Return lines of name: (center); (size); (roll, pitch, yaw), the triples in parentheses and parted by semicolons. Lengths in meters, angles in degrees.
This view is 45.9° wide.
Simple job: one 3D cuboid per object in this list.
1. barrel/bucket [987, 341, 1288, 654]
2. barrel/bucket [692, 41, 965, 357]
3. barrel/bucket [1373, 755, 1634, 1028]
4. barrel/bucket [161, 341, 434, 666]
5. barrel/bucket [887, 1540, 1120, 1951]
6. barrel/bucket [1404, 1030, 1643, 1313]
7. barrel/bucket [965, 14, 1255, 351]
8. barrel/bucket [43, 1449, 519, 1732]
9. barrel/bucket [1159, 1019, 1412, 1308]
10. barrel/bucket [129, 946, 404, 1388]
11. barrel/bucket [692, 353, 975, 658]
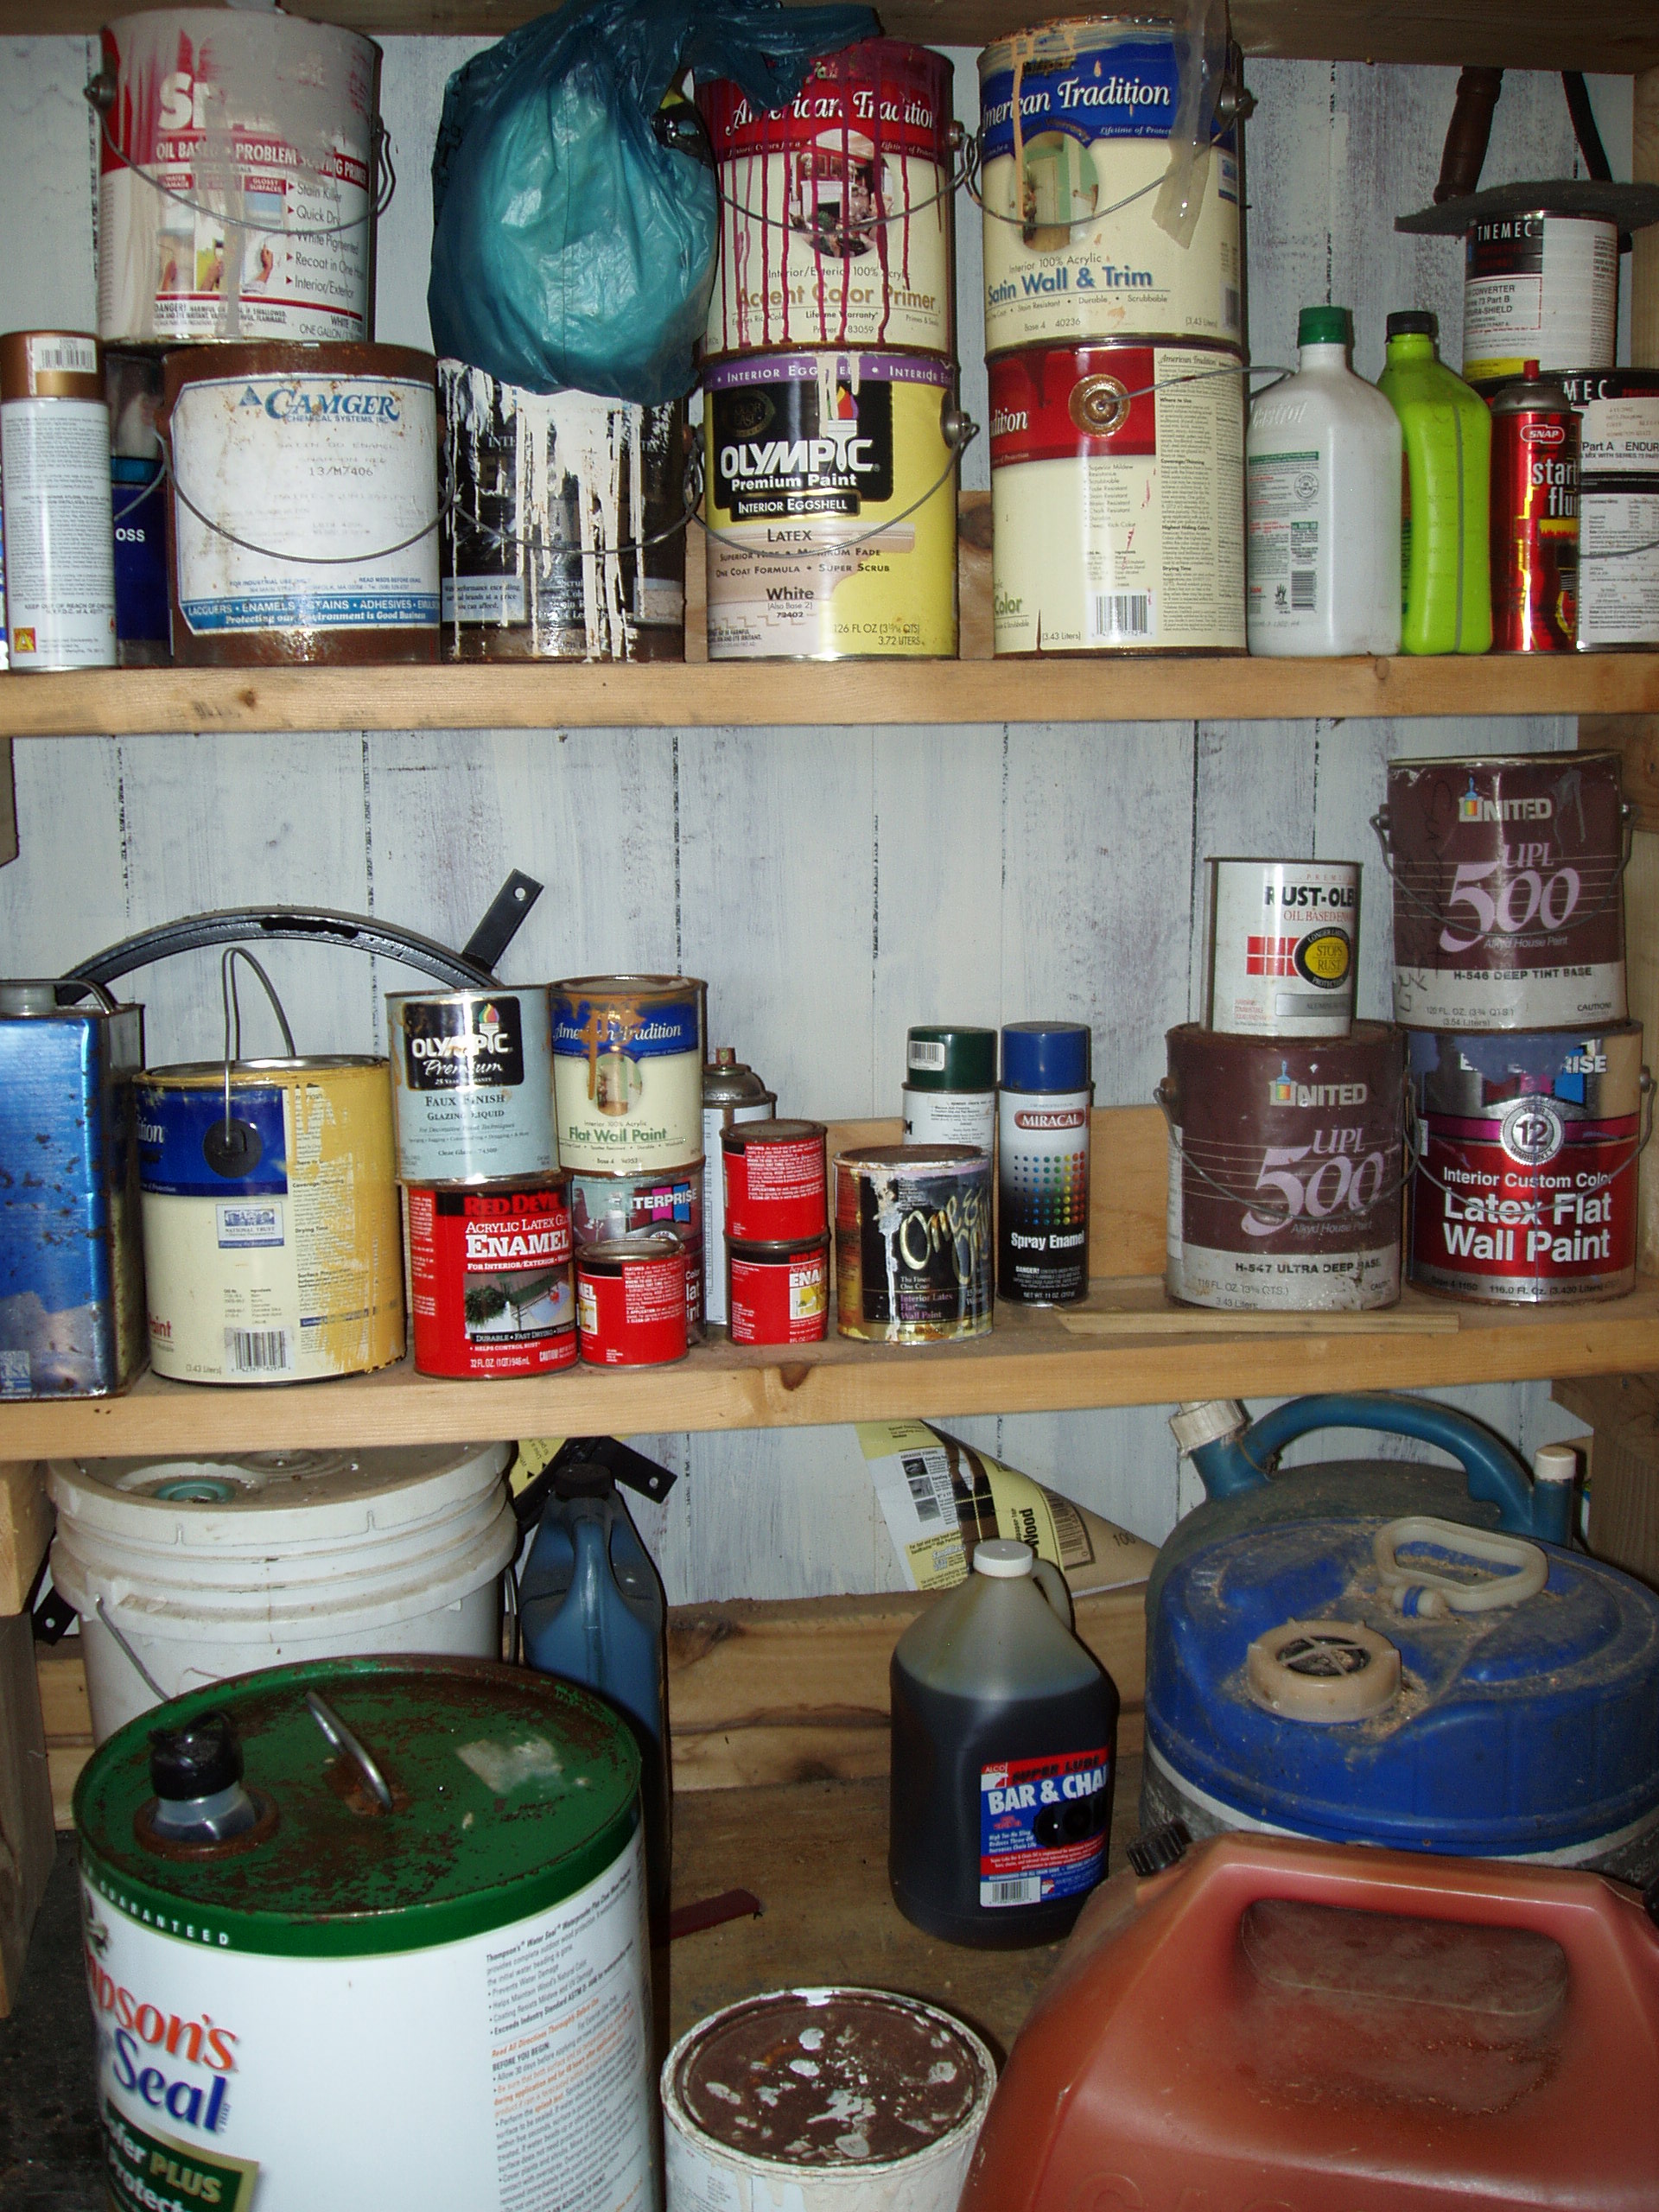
barrel/bucket: (0.181, -0.375, 1.197); (0.181, 0.182, 0.177); (-2, 21, 1)
barrel/bucket: (-0.005, -0.529, 1.164); (0.154, 0.159, 0.150); (-1, 21, 0)
barrel/bucket: (0.419, -0.149, 1.335); (0.192, 0.175, 0.172); (-4, 9, -22)
barrel/bucket: (-0.293, -0.343, 1.140); (0.168, 0.172, 0.166); (1, 13, 0)
barrel/bucket: (0.108, 0.405, 1.275); (0.154, 0.239, 0.136); (-4, 10, -20)
barrel/bucket: (0.456, 0.034, 1.361); (0.179, 0.177, 0.187); (-1, 6, 0)
barrel/bucket: (0.153, -0.525, 1.180); (0.180, 0.167, 0.177); (0, 10, 0)
barrel/bucket: (-0.329, 0.244, 1.197); (0.213, 0.184, 0.204); (1, 11, 0)
barrel/bucket: (0.299, 0.032, 1.306); (0.165, 0.172, 0.163); (-1, 10, 0)
barrel/bucket: (-0.343, 0.034, 1.193); (0.154, 0.245, 0.156); (-3, 6, 0)
barrel/bucket: (0.002, -0.353, 1.203); (0.184, 0.173, 0.173); (-1, 13, 0)
